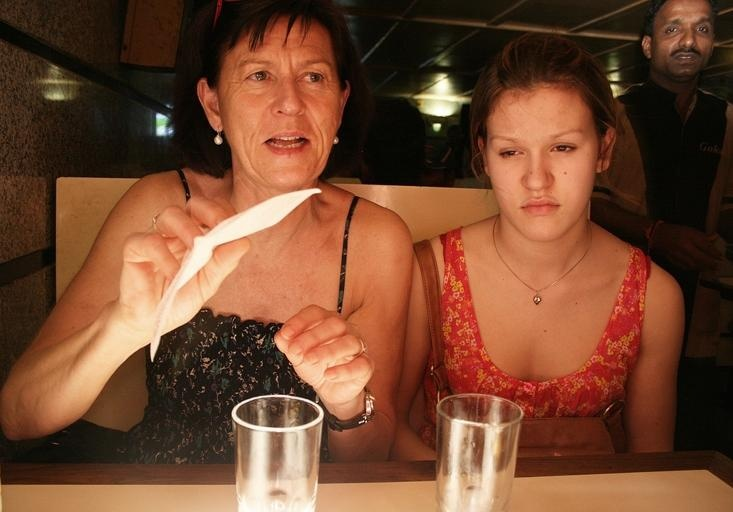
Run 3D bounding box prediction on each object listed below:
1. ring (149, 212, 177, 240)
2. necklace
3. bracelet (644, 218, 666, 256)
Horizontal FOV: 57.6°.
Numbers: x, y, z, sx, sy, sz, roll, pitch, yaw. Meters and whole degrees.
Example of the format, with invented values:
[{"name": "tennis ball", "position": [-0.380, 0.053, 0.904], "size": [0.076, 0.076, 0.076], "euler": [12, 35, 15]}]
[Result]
[{"name": "ring", "position": [-0.512, -0.082, 1.671], "size": [0.081, 0.060, 0.033], "euler": [-16, -1, 43]}, {"name": "necklace", "position": [0.631, 0.015, 2.327], "size": [0.314, 0.401, 0.023], "euler": [2, 7, 0]}, {"name": "bracelet", "position": [1.210, -0.089, 2.824], "size": [0.044, 0.120, 0.090], "euler": [15, 2, 13]}]
